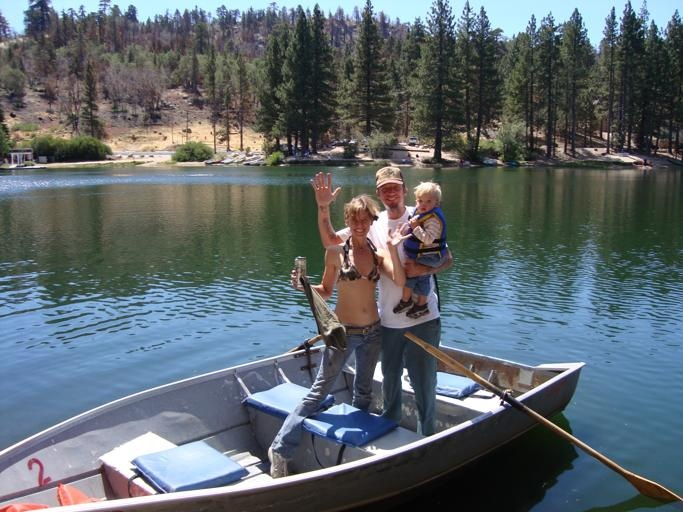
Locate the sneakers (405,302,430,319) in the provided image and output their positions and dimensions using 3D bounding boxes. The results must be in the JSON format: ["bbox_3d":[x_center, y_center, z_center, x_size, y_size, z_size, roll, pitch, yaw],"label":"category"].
[{"bbox_3d":[0.810,0.584,6.692,0.233,0.106,0.121,-10,16,-33],"label":"sneakers"}]

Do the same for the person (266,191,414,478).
[{"bbox_3d":[-0.031,0.879,6.577,1.371,3.001,0.572,-5,9,-20],"label":"person"}]

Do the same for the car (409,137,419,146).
[{"bbox_3d":[9.097,-14.525,78.695,1.000,1.055,1.874,0,8,8],"label":"car"}]

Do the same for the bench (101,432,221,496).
[{"bbox_3d":[-1.982,2.204,6.256,0.644,0.435,0.948,-8,10,-36],"label":"bench"}]

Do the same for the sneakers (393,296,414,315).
[{"bbox_3d":[0.639,0.541,6.665,0.264,0.122,0.098,-32,21,16],"label":"sneakers"}]

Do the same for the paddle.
[{"bbox_3d":[2.507,2.033,7.622,3.562,0.457,0.183,26,41,14],"label":"paddle"}]
